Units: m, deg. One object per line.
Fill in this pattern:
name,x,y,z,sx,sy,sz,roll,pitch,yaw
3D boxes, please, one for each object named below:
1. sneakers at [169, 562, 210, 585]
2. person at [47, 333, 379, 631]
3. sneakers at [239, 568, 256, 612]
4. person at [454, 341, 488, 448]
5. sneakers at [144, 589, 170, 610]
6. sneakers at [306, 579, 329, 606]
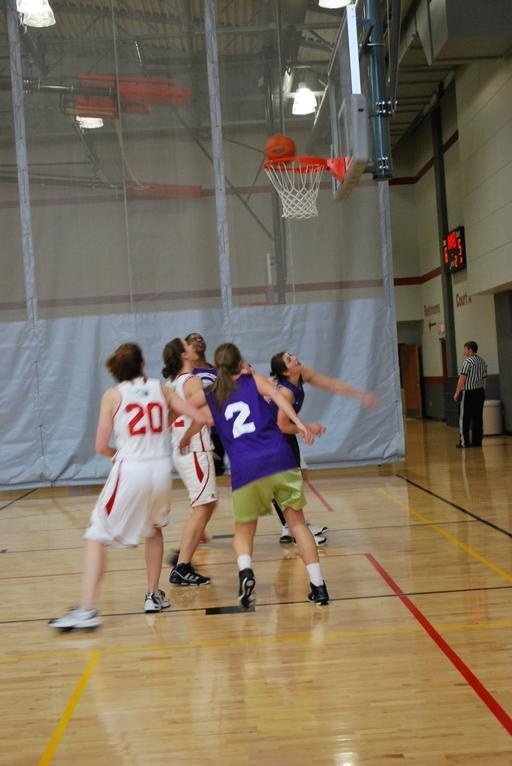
sneakers,-0.361,1.028,3.382,0.268,0.162,0.093,0,-4,2
person,-0.308,0.449,3.143,1.019,1.344,1.444,-11,-5,41
sneakers,-0.051,0.868,2.632,0.064,0.190,0.081,-1,37,-9
person,3.183,0.168,9.335,0.412,1.557,0.948,0,4,17
sneakers,-0.449,0.997,2.883,0.062,0.068,0.162,-1,-2,15
sneakers,0.279,0.930,2.738,0.052,0.064,0.150,1,-5,1
